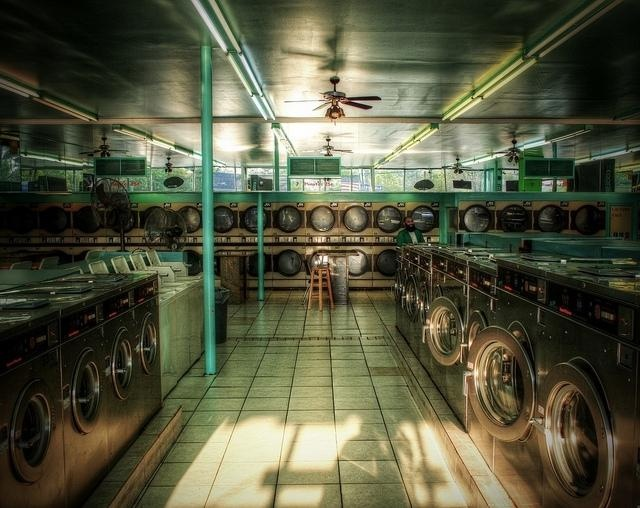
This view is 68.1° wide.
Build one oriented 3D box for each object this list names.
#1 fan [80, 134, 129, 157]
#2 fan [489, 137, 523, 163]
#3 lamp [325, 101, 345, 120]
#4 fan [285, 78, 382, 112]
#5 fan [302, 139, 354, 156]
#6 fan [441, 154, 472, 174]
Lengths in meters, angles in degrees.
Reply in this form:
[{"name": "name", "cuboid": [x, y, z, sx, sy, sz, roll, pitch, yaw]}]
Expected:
[{"name": "fan", "cuboid": [-5.771, -2.716, 12.737, 0.879, 0.397, 0.963, -9, 13, -42]}, {"name": "fan", "cuboid": [4.870, -2.719, 12.548, 0.902, 0.643, 1.009, 0, 0, 29]}, {"name": "lamp", "cuboid": [0.214, -2.049, 7.007, 0.366, 0.253, 0.496, -2, 13, -2]}, {"name": "fan", "cuboid": [0.191, -2.288, 7.128, 1.063, 0.395, 0.951, -6, 12, -33]}, {"name": "fan", "cuboid": [0.412, -2.850, 12.767, 0.772, 0.297, 0.827, 2, 2, -7]}, {"name": "fan", "cuboid": [4.560, -3.119, 15.869, 0.892, 0.534, 0.861, -2, 3, -1]}]
